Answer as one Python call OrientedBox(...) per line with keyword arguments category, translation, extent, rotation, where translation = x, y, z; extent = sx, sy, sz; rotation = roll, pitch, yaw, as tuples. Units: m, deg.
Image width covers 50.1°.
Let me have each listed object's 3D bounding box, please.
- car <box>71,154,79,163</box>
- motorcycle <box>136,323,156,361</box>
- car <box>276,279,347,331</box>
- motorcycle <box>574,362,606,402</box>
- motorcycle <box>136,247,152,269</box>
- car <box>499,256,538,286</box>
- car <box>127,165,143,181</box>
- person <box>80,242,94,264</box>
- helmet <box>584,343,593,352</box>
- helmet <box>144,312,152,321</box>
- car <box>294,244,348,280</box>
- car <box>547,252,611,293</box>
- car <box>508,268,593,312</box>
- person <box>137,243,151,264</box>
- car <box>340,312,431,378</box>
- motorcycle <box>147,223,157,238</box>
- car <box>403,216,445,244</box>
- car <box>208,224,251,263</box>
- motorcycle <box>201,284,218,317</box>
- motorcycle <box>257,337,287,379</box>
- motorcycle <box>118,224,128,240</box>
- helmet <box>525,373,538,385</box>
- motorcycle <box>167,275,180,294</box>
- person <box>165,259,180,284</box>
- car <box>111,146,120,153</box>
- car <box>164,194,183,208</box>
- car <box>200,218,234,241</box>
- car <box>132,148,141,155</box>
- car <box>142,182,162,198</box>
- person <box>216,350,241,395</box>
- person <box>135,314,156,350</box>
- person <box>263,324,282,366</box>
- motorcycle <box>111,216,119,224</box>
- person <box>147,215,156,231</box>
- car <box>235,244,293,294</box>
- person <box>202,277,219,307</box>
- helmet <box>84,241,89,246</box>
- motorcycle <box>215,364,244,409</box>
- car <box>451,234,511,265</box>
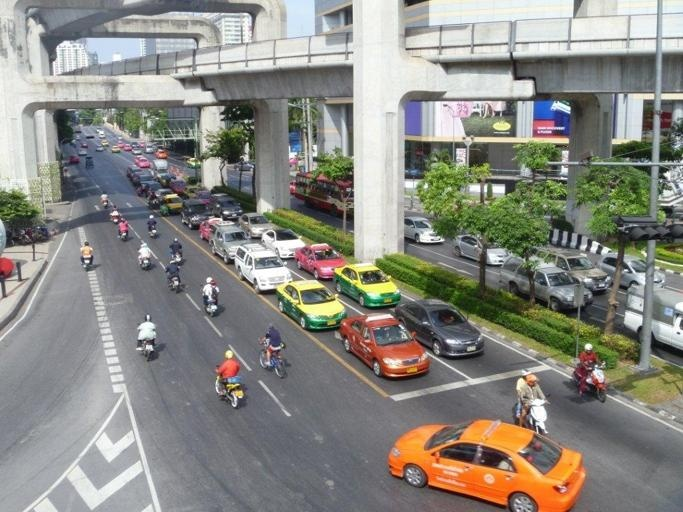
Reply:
OrientedBox(category="car", translation=(-43.070, -15.301, 115.131), extent=(0.941, 0.765, 2.117), rotation=(-8, 24, -27))
OrientedBox(category="motorcycle", translation=(-8.853, 3.429, 32.643), extent=(0.816, 1.030, 1.669), rotation=(-1, 14, -26))
OrientedBox(category="car", translation=(-1.547, 2.362, 36.122), extent=(1.882, 1.888, 3.777), rotation=(-11, 15, -33))
OrientedBox(category="motorcycle", translation=(10.081, 4.796, 29.602), extent=(0.702, 1.435, 2.325), rotation=(-4, 7, -11))
OrientedBox(category="motorcycle", translation=(-12.546, -0.105, 45.599), extent=(0.733, 0.938, 1.613), rotation=(-2, 18, -25))
OrientedBox(category="car", translation=(9.569, 0.656, 41.311), extent=(1.204, 1.356, 2.198), rotation=(-8, 11, -24))
OrientedBox(category="car", translation=(-25.859, -10.391, 89.418), extent=(1.665, 1.809, 3.599), rotation=(-10, 20, -28))
OrientedBox(category="person", translation=(-16.538, -0.248, 46.432), extent=(0.886, 1.086, 1.592), rotation=(-5, 23, -29))
OrientedBox(category="helmet", translation=(9.959, 3.578, 29.368), extent=(0.285, 0.358, 0.385), rotation=(-5, 21, 2))
OrientedBox(category="helmet", translation=(-9.328, 2.777, 34.344), extent=(0.348, 0.406, 0.360), rotation=(-12, 25, -29))
OrientedBox(category="car", translation=(-1.260, 0.275, 43.339), extent=(1.589, 1.692, 3.919), rotation=(-10, 15, -30))
OrientedBox(category="car", translation=(13.049, 0.841, 41.300), extent=(2.189, 2.224, 4.370), rotation=(-6, 10, -25))
OrientedBox(category="car", translation=(10.971, 1.510, 38.445), extent=(1.944, 1.909, 3.981), rotation=(-9, 14, -25))
OrientedBox(category="person", translation=(-12.511, -0.301, 45.660), extent=(0.778, 1.052, 1.822), rotation=(-1, 21, -25))
OrientedBox(category="car", translation=(1.790, 3.774, 31.414), extent=(1.870, 2.016, 3.726), rotation=(-11, 16, -34))
OrientedBox(category="motorcycle", translation=(-14.149, -1.975, 53.398), extent=(0.575, 0.757, 1.152), rotation=(-13, 19, -37))
OrientedBox(category="car", translation=(5.631, -1.869, 52.496), extent=(1.957, 1.642, 2.777), rotation=(-7, 14, -19))
OrientedBox(category="car", translation=(-7.523, -1.057, 48.109), extent=(2.155, 2.181, 4.322), rotation=(-7, 15, -31))
OrientedBox(category="motorcycle", translation=(-6.889, 2.215, 37.308), extent=(0.794, 1.295, 2.059), rotation=(-4, 19, -19))
OrientedBox(category="motorcycle", translation=(-3.037, 4.202, 30.970), extent=(0.937, 1.364, 2.064), rotation=(1, 7, -42))
OrientedBox(category="motorcycle", translation=(-15.982, -1.842, 52.476), extent=(0.560, 1.374, 1.075), rotation=(-7, 13, -21))
OrientedBox(category="helmet", translation=(6.896, 4.357, 26.356), extent=(0.527, 0.367, 0.272), rotation=(-12, 16, -35))
OrientedBox(category="motorcycle", translation=(-9.638, 1.394, 41.094), extent=(0.662, 0.926, 0.823), rotation=(-6, 13, -15))
OrientedBox(category="person", translation=(-9.722, 0.687, 41.521), extent=(0.869, 1.094, 1.768), rotation=(-2, 20, -19))
OrientedBox(category="car", translation=(-42.027, -19.569, 132.908), extent=(1.167, 1.222, 2.324), rotation=(-8, 16, -26))
OrientedBox(category="car", translation=(-15.176, -4.775, 63.726), extent=(1.138, 0.898, 2.439), rotation=(-8, 31, -25))
OrientedBox(category="car", translation=(-9.419, -2.092, 51.584), extent=(1.505, 1.375, 2.609), rotation=(-6, 10, -36))
OrientedBox(category="car", translation=(-37.346, -18.796, 130.258), extent=(1.339, 1.067, 2.966), rotation=(-8, 18, -30))
OrientedBox(category="car", translation=(-18.563, -6.320, 69.608), extent=(1.182, 0.991, 1.954), rotation=(-11, 29, -44))
OrientedBox(category="person", translation=(-4.678, 4.447, 29.286), extent=(0.996, 1.240, 1.802), rotation=(4, 12, -25))
OrientedBox(category="person", translation=(-8.917, 3.096, 32.774), extent=(0.894, 1.194, 1.837), rotation=(-1, 18, -18))
OrientedBox(category="person", translation=(-3.059, 3.641, 31.022), extent=(0.921, 1.752, 0.936), rotation=(3, 11, 9))
OrientedBox(category="motorcycle", translation=(-18.221, -2.984, 57.637), extent=(0.669, 0.568, 0.973), rotation=(4, 0, -5))
OrientedBox(category="person", translation=(-14.118, -2.376, 53.158), extent=(0.521, 1.144, 1.579), rotation=(-6, 13, -18))
OrientedBox(category="car", translation=(-4.674, 0.665, 41.564), extent=(1.744, 1.987, 4.391), rotation=(-9, 15, -28))
OrientedBox(category="person", translation=(-6.871, 1.673, 37.265), extent=(0.722, 0.895, 1.487), rotation=(0, 21, -11))
OrientedBox(category="helmet", translation=(-17.546, -0.960, 49.183), extent=(0.302, 0.296, 0.306), rotation=(-17, 34, -39))
OrientedBox(category="motorcycle", translation=(-4.428, 5.086, 28.692), extent=(0.769, 1.009, 1.452), rotation=(-8, 18, -38))
OrientedBox(category="car", translation=(8.834, -0.532, 47.231), extent=(1.859, 1.372, 3.800), rotation=(-13, 21, -28))
